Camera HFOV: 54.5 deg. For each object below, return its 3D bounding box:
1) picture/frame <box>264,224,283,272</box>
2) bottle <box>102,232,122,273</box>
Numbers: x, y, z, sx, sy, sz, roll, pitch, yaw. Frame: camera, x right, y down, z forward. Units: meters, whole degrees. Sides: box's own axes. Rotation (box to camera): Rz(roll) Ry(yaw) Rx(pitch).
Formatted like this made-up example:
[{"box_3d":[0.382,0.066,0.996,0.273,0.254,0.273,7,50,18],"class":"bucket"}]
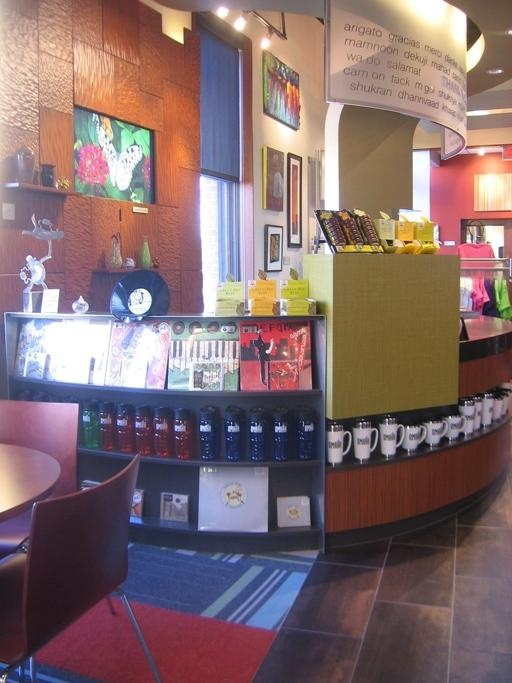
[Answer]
[{"box_3d":[0.209,-1.221,6.543,0.072,0.836,0.750,0,4,20],"class":"picture/frame"},{"box_3d":[-1.130,-0.707,3.970,0.151,0.333,0.218,-1,-1,44],"class":"bottle"}]
